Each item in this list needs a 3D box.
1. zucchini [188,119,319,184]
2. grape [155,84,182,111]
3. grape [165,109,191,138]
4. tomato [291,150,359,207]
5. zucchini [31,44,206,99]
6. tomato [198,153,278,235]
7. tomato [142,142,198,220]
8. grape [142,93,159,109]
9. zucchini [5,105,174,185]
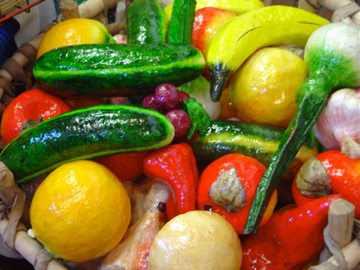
[{"bbox_3d":[0.189,0.003,1.007,0.289,0.103,0.099,-2,21,-7],"label":"zucchini"},{"bbox_3d":[-0.035,-0.108,0.925,0.066,0.071,0.055,-11,19,-42],"label":"grape"},{"bbox_3d":[-0.001,-0.037,0.913,0.076,0.068,0.061,-1,19,1],"label":"grape"},{"bbox_3d":[0.370,0.095,0.894,0.144,0.135,0.159,-1,13,-11],"label":"tomato"},{"bbox_3d":[-0.171,-0.200,1.004,0.496,0.179,0.162,-6,33,-8],"label":"zucchini"},{"bbox_3d":[0.138,0.113,0.931,0.181,0.212,0.224,8,17,22],"label":"tomato"},{"bbox_3d":[-0.016,0.112,0.945,0.126,0.223,0.086,-16,-8,31],"label":"tomato"},{"bbox_3d":[-0.083,-0.097,0.946,0.042,0.024,0.037,17,71,8],"label":"grape"},{"bbox_3d":[-0.244,0.008,0.878,0.508,0.188,0.163,-8,64,3],"label":"zucchini"}]
